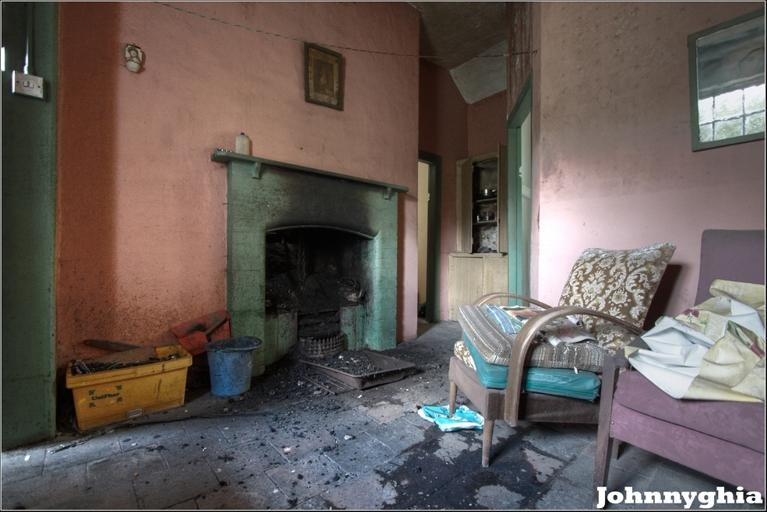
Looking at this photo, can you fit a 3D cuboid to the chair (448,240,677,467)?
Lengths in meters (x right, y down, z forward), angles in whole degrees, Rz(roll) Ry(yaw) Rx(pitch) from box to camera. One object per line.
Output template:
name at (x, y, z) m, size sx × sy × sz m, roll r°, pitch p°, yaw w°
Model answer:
chair at (1.141, 0.542, 3.617) m, size 1.447 × 1.303 × 1.165 m, roll -2°, pitch 4°, yaw -25°

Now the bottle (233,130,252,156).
bottle at (-1.122, -0.900, 4.249) m, size 0.146 × 0.227 × 0.274 m, roll -2°, pitch 3°, yaw -14°

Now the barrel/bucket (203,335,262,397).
barrel/bucket at (-1.127, 0.842, 4.052) m, size 0.428 × 0.367 × 0.407 m, roll -1°, pitch 1°, yaw 0°

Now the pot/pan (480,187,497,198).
pot/pan at (1.298, -0.775, 6.487) m, size 0.136 × 0.090 × 0.133 m, roll -1°, pitch -5°, yaw 13°

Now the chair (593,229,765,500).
chair at (1.787, 0.555, 3.127) m, size 0.772 × 1.420 × 1.019 m, roll 1°, pitch 4°, yaw 34°

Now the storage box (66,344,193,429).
storage box at (-1.773, 0.874, 3.681) m, size 0.690 × 0.335 × 0.467 m, roll 1°, pitch -1°, yaw -37°
